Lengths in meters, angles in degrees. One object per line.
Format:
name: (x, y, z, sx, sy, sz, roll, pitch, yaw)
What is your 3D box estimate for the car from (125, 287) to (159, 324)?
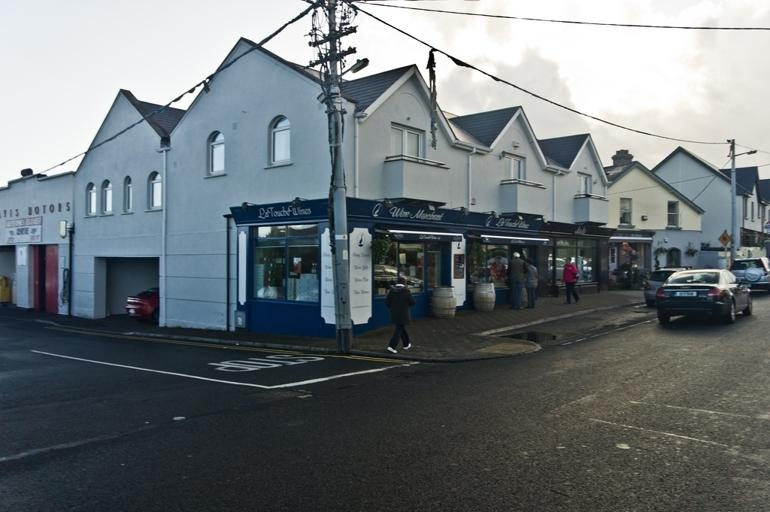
car: (-10.045, 2.103, 31.136, 1.572, 1.389, 0.756, 1, 8, 19)

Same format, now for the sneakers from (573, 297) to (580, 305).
sneakers: (8.164, 1.899, 31.311, 0.182, 0.258, 0.620, 1, 5, 17)

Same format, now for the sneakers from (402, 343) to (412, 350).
sneakers: (0.676, 2.645, 21.626, 0.107, 0.147, 0.335, 4, 9, 30)

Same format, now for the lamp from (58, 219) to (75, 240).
lamp: (-15.136, -1.261, 35.131, 0.938, 0.956, 0.317, 1, 1, 34)

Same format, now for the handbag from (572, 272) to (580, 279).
handbag: (8.219, 0.828, 31.724, 0.256, 0.360, 0.338, 13, 4, -4)

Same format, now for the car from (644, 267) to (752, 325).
car: (10.543, 1.387, 24.232, 2.894, 1.690, 1.549, -4, 8, -14)

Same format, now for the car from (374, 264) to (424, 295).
car: (0.481, 0.828, 25.673, 1.524, 0.773, 0.911, -6, -5, 33)

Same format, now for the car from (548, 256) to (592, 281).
car: (9.073, 0.655, 35.676, 2.308, 1.205, 1.316, -5, 5, -30)

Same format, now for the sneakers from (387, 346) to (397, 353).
sneakers: (0.209, 2.691, 21.156, 0.119, 0.135, 0.311, 5, -5, 39)
